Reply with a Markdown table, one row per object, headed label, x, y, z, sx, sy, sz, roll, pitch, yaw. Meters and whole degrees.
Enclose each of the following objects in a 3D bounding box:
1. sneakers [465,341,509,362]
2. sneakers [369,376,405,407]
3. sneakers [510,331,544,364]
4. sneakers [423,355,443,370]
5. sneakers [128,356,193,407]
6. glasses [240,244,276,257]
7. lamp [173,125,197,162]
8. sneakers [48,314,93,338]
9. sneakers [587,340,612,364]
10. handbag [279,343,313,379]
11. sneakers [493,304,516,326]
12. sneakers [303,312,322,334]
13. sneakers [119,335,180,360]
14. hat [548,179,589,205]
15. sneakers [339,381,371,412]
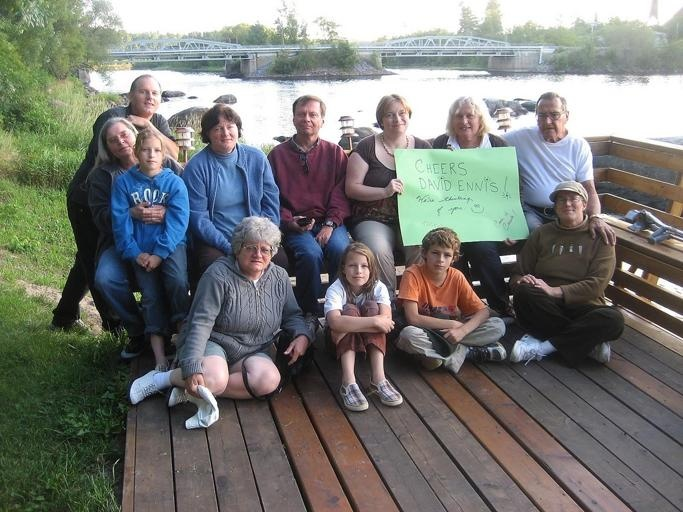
| label | x | y | z | sx | sy | sz | roll | pitch | yaw |
| --- | --- | --- | --- | --- | --- | --- | --- | --- | --- |
| sneakers | 1.114 | 0.725 | 3.741 | 0.321 | 0.124 | 0.147 | -1 | 32 | 19 |
| sneakers | 0.336 | 0.913 | 3.330 | 0.197 | 0.118 | 0.230 | -10 | 22 | -27 |
| sneakers | 1.443 | 0.723 | 3.740 | 0.177 | 0.145 | 0.357 | 16 | 24 | 37 |
| sneakers | 0.683 | 0.771 | 3.634 | 0.125 | 0.123 | 0.112 | 7 | 12 | 36 |
| sneakers | -1.281 | 0.868 | 3.326 | 0.487 | 0.171 | 0.206 | -33 | 29 | -28 |
| glasses | -0.561 | -0.027 | 3.379 | 0.120 | 0.123 | 0.036 | 9 | 58 | -22 |
| lamp | -2.922 | -2.067 | 9.162 | 0.458 | 0.701 | 0.464 | 21 | 26 | 33 |
| sneakers | -2.738 | 0.705 | 4.936 | 0.445 | 0.191 | 0.162 | 6 | 17 | -34 |
| sneakers | 1.931 | 0.716 | 3.724 | 0.100 | 0.145 | 0.208 | -10 | 20 | -4 |
| handbag | -0.331 | 0.744 | 3.541 | 0.200 | 0.270 | 0.094 | 21 | 2 | -36 |
| sneakers | 1.448 | 0.516 | 4.313 | 0.153 | 0.085 | 0.216 | 30 | 34 | 15 |
| sneakers | -0.210 | 0.532 | 3.815 | 0.080 | 0.110 | 0.268 | -11 | -21 | -4 |
| sneakers | -1.461 | 0.709 | 3.773 | 0.471 | 0.196 | 0.160 | -1 | 31 | -12 |
| hat | 1.899 | -0.533 | 4.057 | 0.242 | 0.177 | 0.220 | -6 | 20 | -17 |
| sneakers | 0.081 | 0.942 | 3.289 | 0.108 | 0.090 | 0.220 | -4 | 13 | -21 |
